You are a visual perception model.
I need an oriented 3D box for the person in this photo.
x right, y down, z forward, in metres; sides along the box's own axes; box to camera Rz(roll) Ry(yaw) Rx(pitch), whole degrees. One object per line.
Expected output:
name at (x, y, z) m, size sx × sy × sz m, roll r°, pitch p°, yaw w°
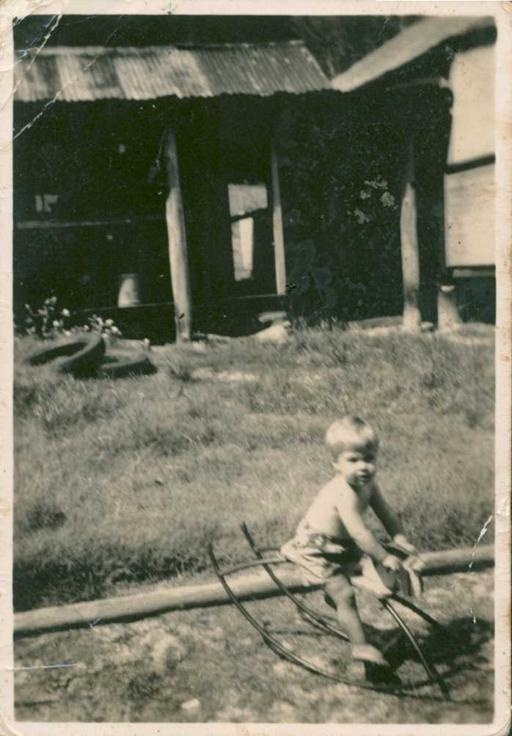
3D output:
person at (0.368, 0.594, 3.696) m, size 0.473 × 0.870 × 0.436 m, roll 9°, pitch 18°, yaw 31°
